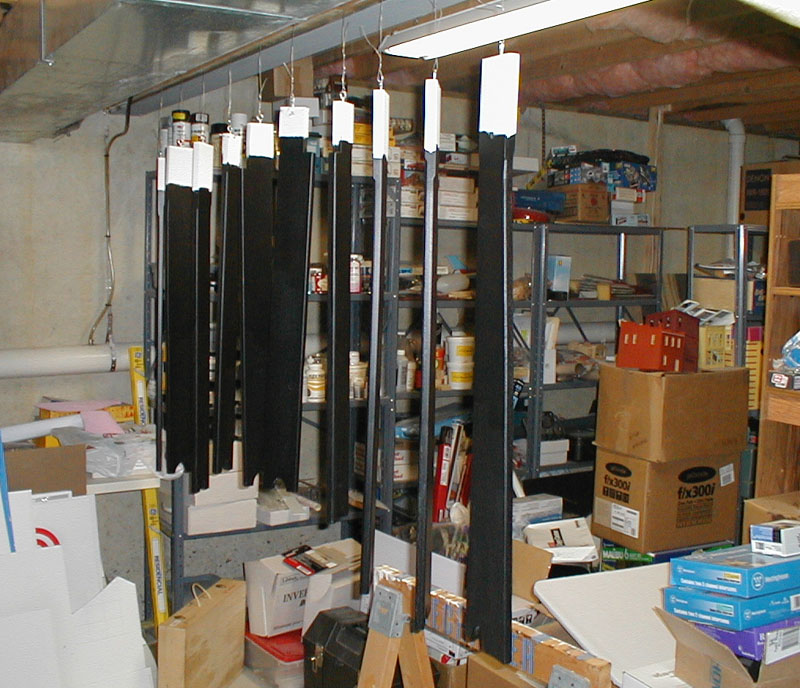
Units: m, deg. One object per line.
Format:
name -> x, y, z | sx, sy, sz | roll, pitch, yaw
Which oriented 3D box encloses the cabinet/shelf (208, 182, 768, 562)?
cabinet/shelf -> 0.366, 0.172, 3.264 | 2.276, 1.823, 0.710 | 3, -1, -32
